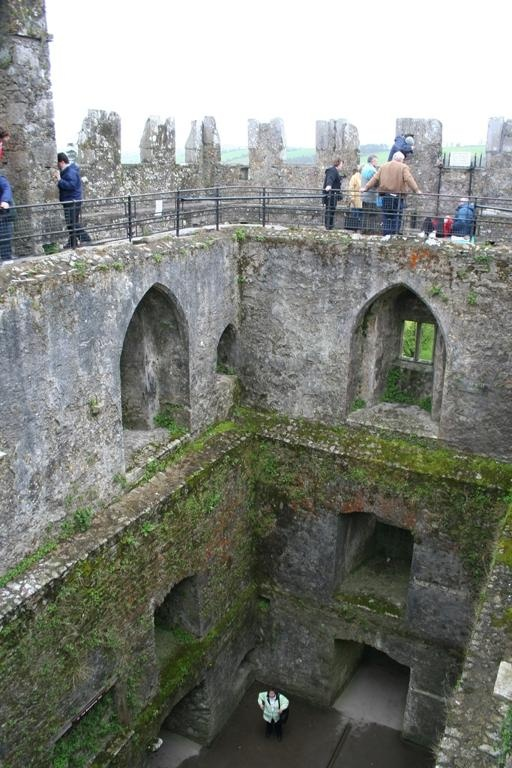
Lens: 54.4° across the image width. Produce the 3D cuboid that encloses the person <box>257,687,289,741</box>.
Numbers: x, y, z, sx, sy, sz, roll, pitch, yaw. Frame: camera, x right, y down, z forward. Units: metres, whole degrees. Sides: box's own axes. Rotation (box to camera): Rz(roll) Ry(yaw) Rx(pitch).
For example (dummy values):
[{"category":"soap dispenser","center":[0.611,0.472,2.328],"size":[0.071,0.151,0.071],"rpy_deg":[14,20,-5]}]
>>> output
[{"category":"person","center":[0.302,5.762,8.775],"size":[0.471,1.049,0.299],"rpy_deg":[1,17,7]}]

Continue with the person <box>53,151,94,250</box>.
[{"category":"person","center":[-2.305,-2.348,6.309],"size":[0.377,1.292,1.694],"rpy_deg":[-4,12,-21]}]

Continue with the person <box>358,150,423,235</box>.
[{"category":"person","center":[2.102,-2.908,7.809],"size":[0.807,1.341,0.359],"rpy_deg":[1,-2,17]}]
